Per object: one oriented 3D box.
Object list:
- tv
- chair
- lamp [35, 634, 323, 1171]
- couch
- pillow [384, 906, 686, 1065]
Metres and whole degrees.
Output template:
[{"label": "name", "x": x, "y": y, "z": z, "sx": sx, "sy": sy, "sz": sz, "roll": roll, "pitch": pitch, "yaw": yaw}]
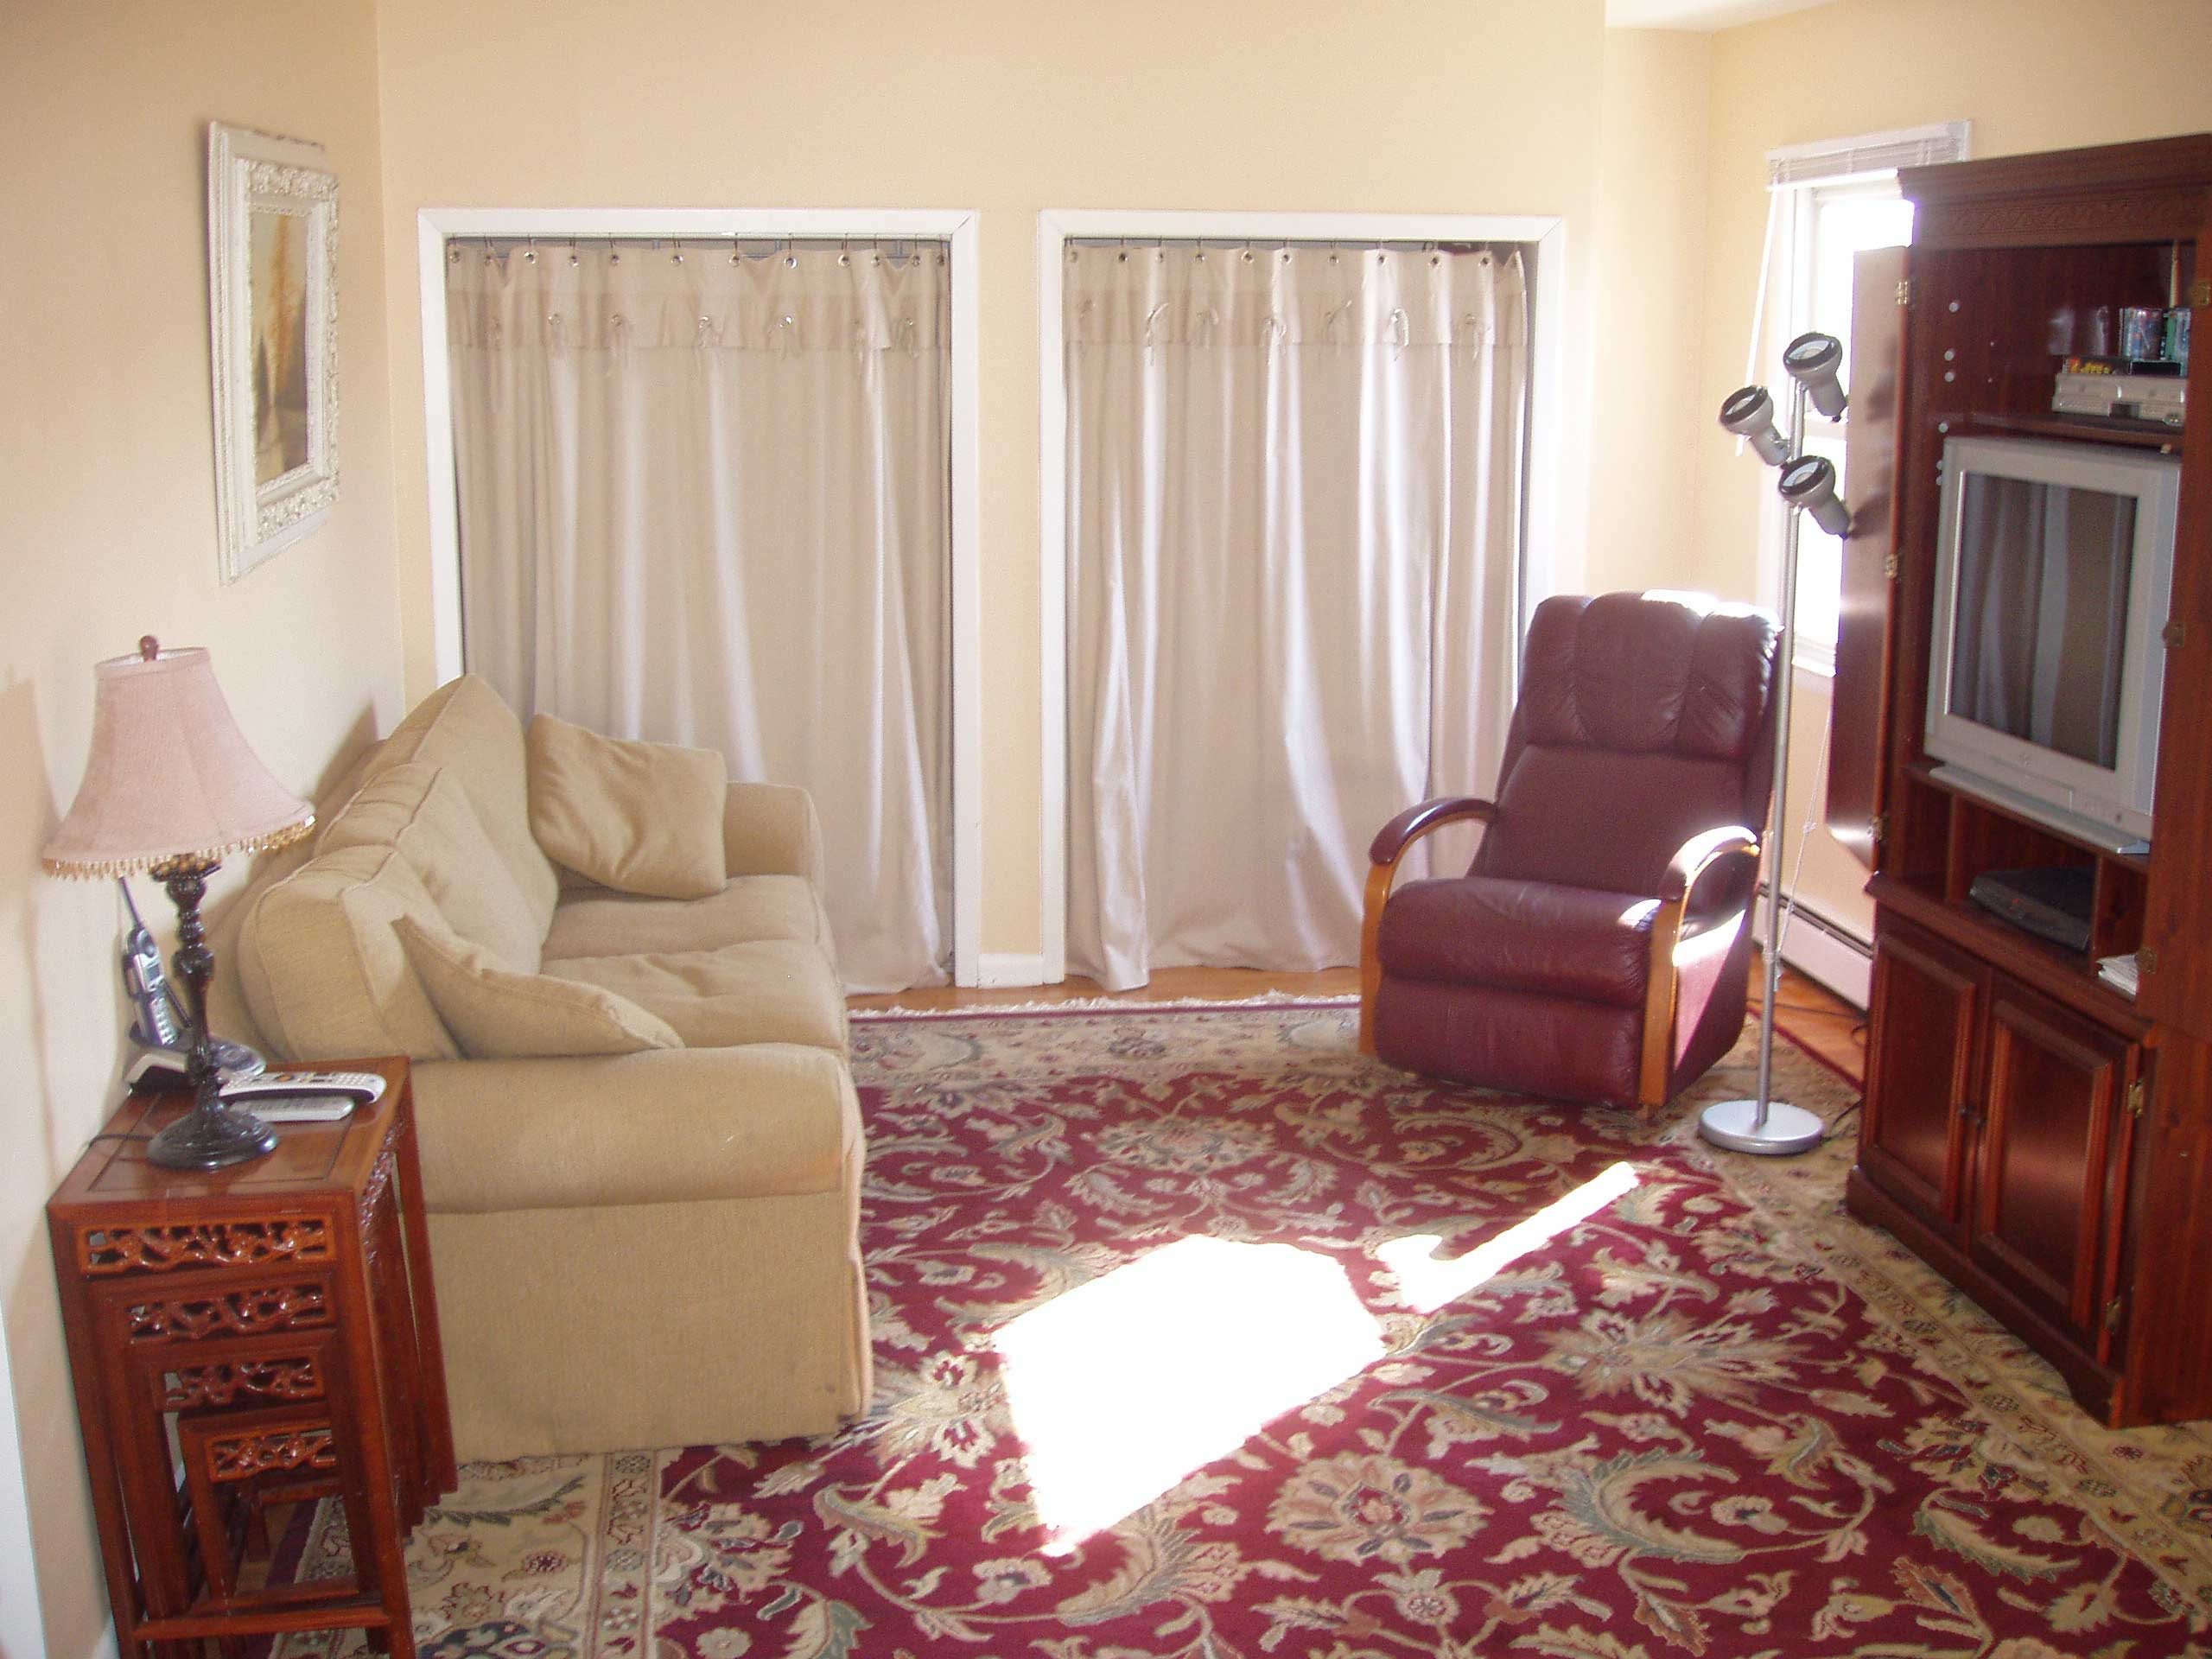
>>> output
[{"label": "tv", "x": 1.939, "y": -0.399, "z": 3.509, "sx": 0.402, "sy": 0.711, "sz": 0.747, "roll": 2, "pitch": 16, "yaw": 1}, {"label": "chair", "x": 1.420, "y": -0.047, "z": 5.141, "sx": 1.102, "sy": 1.587, "sz": 1.539, "roll": 7, "pitch": 18, "yaw": 33}, {"label": "lamp", "x": -1.506, "y": 0.103, "z": 2.780, "sx": 0.377, "sy": 0.803, "sz": 0.315, "roll": 3, "pitch": 16, "yaw": 19}, {"label": "couch", "x": -1.190, "y": 0.502, "z": 3.461, "sx": 0.702, "sy": 0.665, "sz": 1.498, "roll": -4, "pitch": 24, "yaw": -11}, {"label": "pillow", "x": -1.100, "y": 0.303, "z": 3.323, "sx": 0.508, "sy": 0.284, "sz": 0.144, "roll": 0, "pitch": 15, "yaw": 6}]
